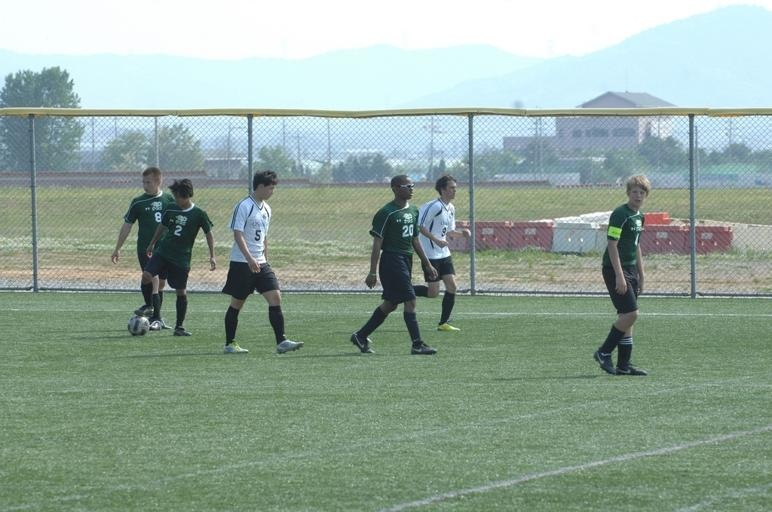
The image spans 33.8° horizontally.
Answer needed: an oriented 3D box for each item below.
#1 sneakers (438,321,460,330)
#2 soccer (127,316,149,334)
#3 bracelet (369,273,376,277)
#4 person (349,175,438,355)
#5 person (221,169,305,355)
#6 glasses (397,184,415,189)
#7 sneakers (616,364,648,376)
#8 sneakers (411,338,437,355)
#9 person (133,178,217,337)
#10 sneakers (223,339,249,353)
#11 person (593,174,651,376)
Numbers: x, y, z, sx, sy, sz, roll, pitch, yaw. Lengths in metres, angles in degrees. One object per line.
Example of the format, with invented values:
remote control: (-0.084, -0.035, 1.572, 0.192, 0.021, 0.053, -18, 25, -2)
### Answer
sneakers: (0.849, 0.997, 18.035, 0.354, 0.118, 0.106, -2, 1, 1)
soccer: (-3.353, 0.939, 17.396, 0.293, 0.230, 0.259, -8, 5, 0)
bracelet: (-0.188, 0.242, 16.150, 0.050, 0.029, 0.044, 0, 7, -14)
person: (0.114, 0.128, 16.558, 1.048, 2.375, 1.072, 3, 16, 6)
person: (-1.647, 0.119, 16.332, 0.915, 2.409, 0.889, -1, 16, -8)
glasses: (0.252, -0.894, 16.308, 0.188, 0.075, 0.046, -8, 18, -33)
sneakers: (2.949, 1.393, 15.473, 0.406, 0.132, 0.130, 0, 0, 1)
sneakers: (0.466, 1.181, 16.473, 0.342, 0.153, 0.172, -1, 1, 6)
person: (-2.883, 0.017, 17.666, 0.927, 2.255, 0.898, -1, 16, -9)
sneakers: (-1.971, 1.189, 16.534, 0.386, 0.173, 0.123, -1, 2, -4)
person: (2.889, 0.223, 15.461, 0.595, 2.463, 0.893, 4, 16, 9)
